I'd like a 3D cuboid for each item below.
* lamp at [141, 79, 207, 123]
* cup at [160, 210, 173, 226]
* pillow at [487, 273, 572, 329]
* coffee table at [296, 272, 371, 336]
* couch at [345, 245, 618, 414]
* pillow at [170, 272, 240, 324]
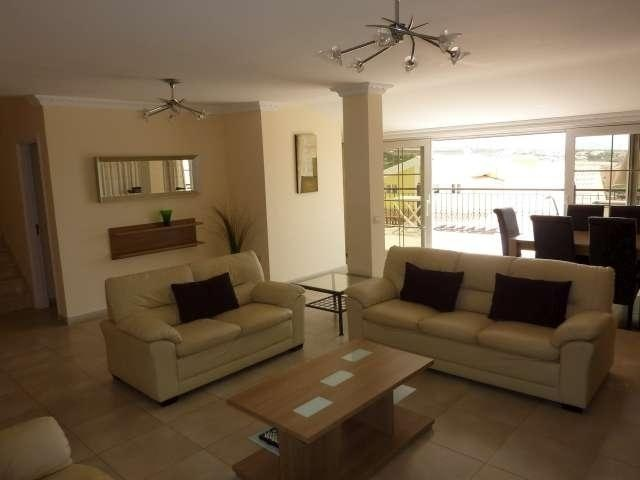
[{"bbox_3d":[-1.697,-1.646,5.282,0.760,0.371,0.735,-1,27,-12],"label":"lamp"},{"bbox_3d":[-2.180,-0.317,6.524,0.209,0.233,0.214,1,0,0],"label":"cup"},{"bbox_3d":[1.899,0.557,4.164,0.662,0.429,0.240,4,1,30],"label":"pillow"},{"bbox_3d":[0.214,0.716,5.713,0.704,0.451,0.740,7,12,43],"label":"coffee table"},{"bbox_3d":[1.459,0.718,4.474,2.362,1.027,0.913,5,12,44],"label":"couch"},{"bbox_3d":[-1.145,0.594,4.578,0.660,0.397,0.184,-13,-6,-37],"label":"pillow"}]
